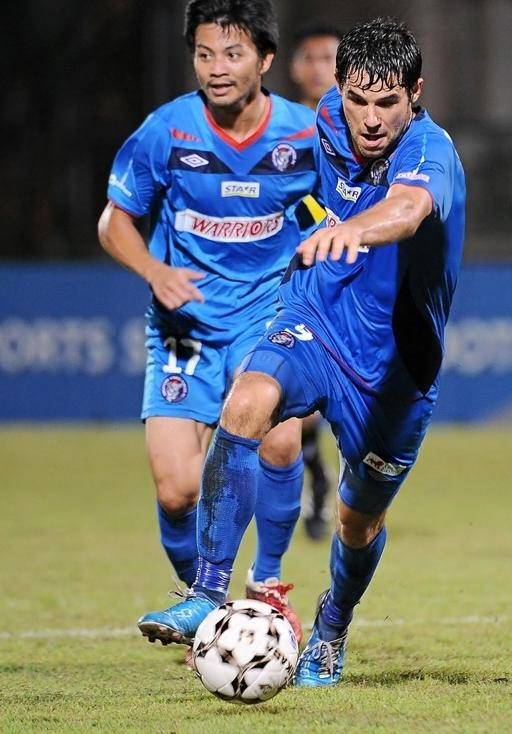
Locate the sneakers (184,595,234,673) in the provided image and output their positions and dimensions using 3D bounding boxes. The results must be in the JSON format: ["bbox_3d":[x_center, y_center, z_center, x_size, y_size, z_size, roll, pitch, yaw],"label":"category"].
[{"bbox_3d":[-0.103,0.601,1.996,0.056,0.150,0.114,36,23,-1],"label":"sneakers"}]

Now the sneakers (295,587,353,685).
[{"bbox_3d":[0.200,0.799,2.563,0.103,0.123,0.282,24,46,-13],"label":"sneakers"}]

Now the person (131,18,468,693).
[{"bbox_3d":[0.251,-0.018,2.249,0.691,1.795,0.810,-3,-4,34],"label":"person"}]
